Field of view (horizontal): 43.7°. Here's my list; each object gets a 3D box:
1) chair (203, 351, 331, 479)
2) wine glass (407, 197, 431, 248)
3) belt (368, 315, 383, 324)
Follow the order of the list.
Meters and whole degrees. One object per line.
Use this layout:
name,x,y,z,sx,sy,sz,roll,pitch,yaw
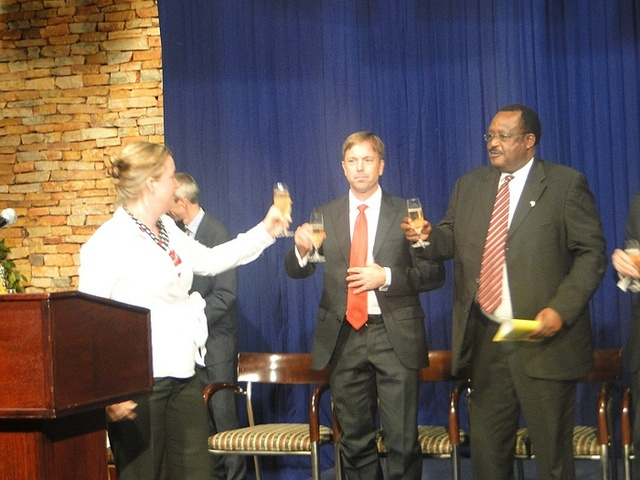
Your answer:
chair,-0.229,1.096,5.014,0.755,1.157,0.769,-5,-16,14
wine glass,0.533,-0.102,4.362,0.106,0.267,0.360,-2,-6,7
belt,0.308,0.461,4.550,0.087,0.066,0.024,-3,-6,12
